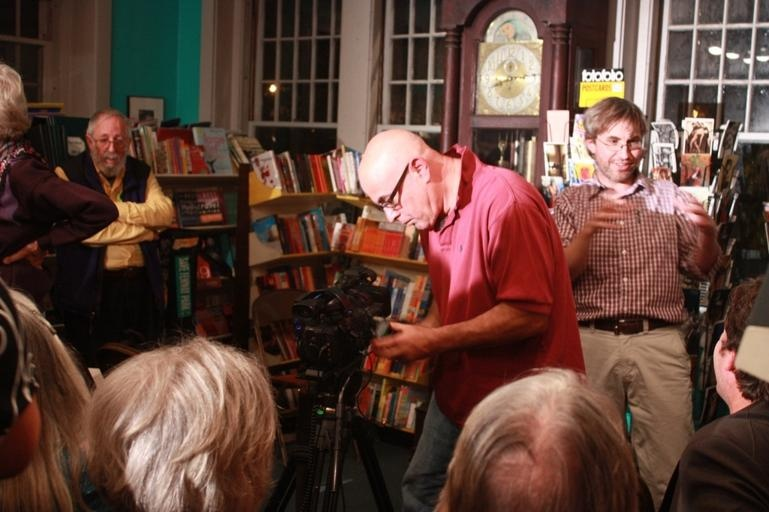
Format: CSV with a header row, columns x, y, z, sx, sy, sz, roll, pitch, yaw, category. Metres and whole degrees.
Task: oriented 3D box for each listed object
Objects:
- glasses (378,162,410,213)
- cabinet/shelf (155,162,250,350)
x,y,z,sx,sy,sz,roll,pitch,yaw,category
0.037,-0.252,2.266,0.041,0.147,0.133,-7,-8,-27,glasses
-1.294,0.012,4.954,0.781,1.507,0.465,0,17,35,cabinet/shelf
